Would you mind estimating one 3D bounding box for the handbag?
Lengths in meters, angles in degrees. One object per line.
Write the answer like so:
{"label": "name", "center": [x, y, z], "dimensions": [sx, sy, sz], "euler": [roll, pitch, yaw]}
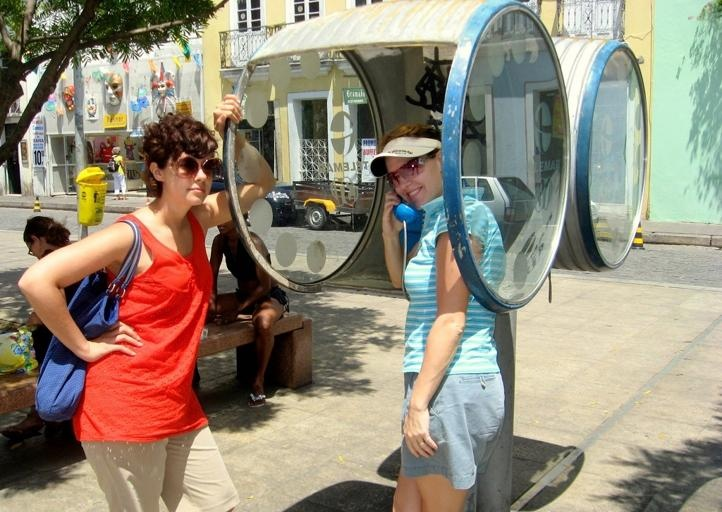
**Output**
{"label": "handbag", "center": [-1.150, 0.286, 2.568], "dimensions": [0.446, 0.856, 0.301], "euler": [-5, 10, -27]}
